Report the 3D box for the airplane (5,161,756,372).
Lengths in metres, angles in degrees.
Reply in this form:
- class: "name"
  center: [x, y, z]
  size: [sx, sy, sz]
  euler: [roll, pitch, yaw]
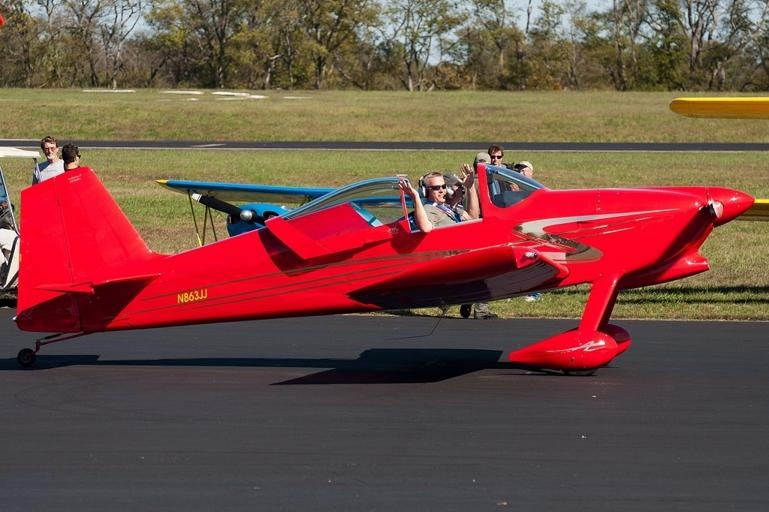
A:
- class: "airplane"
  center: [-0.867, -0.022, 47.737]
  size: [16.358, 3.490, 10.182]
  euler: [-3, 4, -2]
